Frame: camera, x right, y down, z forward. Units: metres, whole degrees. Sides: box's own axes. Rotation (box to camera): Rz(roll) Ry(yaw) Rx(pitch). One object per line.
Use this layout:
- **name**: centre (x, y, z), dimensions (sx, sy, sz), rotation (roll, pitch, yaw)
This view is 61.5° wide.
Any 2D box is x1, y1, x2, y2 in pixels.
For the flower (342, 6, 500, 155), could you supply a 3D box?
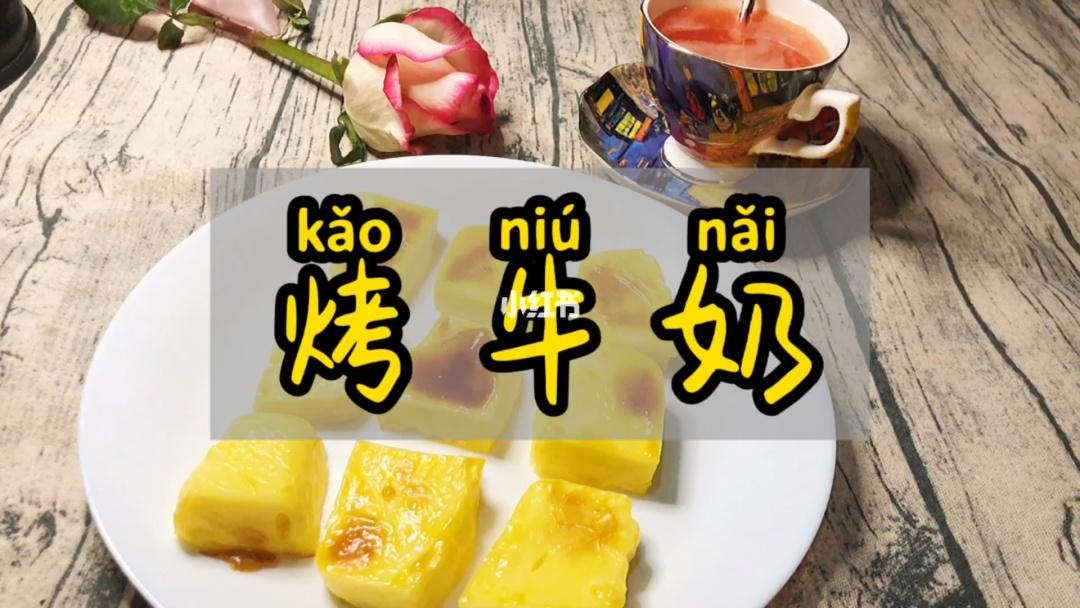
- **flower**: centre (-0.247, -0.415, 1.666), dimensions (0.293, 0.223, 0.163), rotation (12, -66, 13)

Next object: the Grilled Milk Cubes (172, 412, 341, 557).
- **Grilled Milk Cubes**: centre (-0.439, 0.269, 1.394), dimensions (0.224, 0.246, 0.117), rotation (9, -59, -8)
